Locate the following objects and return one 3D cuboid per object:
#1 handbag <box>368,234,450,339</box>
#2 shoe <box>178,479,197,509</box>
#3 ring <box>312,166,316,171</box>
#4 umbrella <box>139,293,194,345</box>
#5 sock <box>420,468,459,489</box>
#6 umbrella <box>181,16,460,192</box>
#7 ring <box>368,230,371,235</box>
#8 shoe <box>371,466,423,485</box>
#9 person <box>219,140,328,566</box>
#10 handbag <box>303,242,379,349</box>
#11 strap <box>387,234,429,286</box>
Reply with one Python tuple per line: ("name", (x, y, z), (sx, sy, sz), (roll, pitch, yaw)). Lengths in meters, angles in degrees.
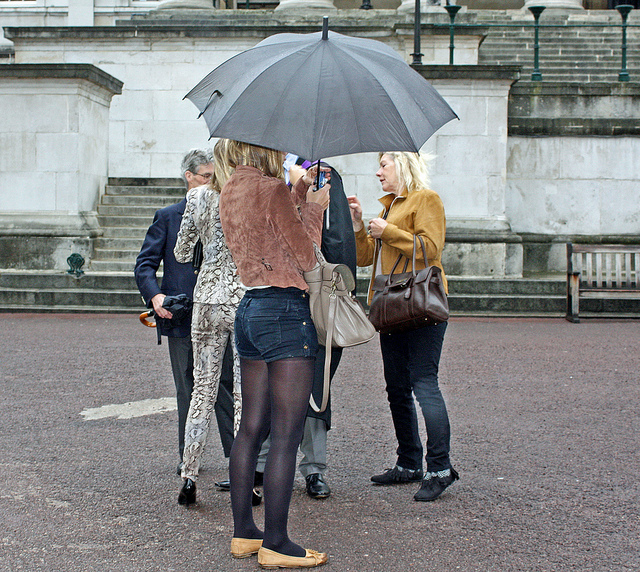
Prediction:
("handbag", (0.770, 0.019, 12.595), (0.688, 0.859, 0.317), (-13, -25, 31))
("shoe", (-1.129, 1.778, 12.446), (0.152, 0.228, 0.174), (-1, 14, -6))
("ring", (-0.039, -0.938, 11.724), (0.016, 0.044, 0.034), (3, -5, -12))
("umbrella", (-1.346, 0.260, 12.933), (0.527, 0.362, 0.260), (-23, 13, 4))
("sock", (1.043, 1.673, 12.575), (0.292, 0.130, 0.130), (-5, 5, -14))
("umbrella", (0.008, -1.639, 12.374), (2.269, 0.986, 2.210), (19, 20, 21))
("ring", (0.442, -0.464, 12.772), (0.037, 0.050, 0.025), (-2, -12, 25))
("shoe", (0.690, 1.701, 12.977), (0.460, 0.206, 0.164), (2, -4, -4))
("person", (-0.351, 0.555, 11.643), (0.799, 3.296, 0.904), (-1, 13, -5))
("handbag", (0.165, 0.073, 11.927), (0.460, 0.929, 0.769), (-14, 13, -32))
("strap", (0.784, -0.272, 12.704), (0.335, 0.466, 0.325), (5, 15, 13))
